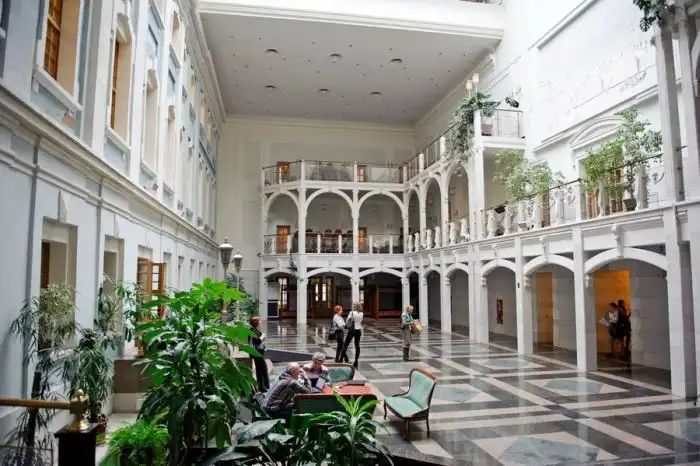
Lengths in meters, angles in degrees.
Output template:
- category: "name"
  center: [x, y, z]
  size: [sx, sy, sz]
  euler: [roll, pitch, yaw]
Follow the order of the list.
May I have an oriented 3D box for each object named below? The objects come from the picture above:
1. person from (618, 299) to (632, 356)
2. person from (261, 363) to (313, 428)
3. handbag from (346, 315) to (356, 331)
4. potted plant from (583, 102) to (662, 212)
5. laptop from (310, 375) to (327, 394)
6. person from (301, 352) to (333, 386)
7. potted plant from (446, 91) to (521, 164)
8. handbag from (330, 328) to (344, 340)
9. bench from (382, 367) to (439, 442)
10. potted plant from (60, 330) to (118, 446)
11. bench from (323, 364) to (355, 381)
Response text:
- category: "person"
  center: [8.954, 3.139, 15.232]
  size: [0.332, 1.872, 1.116]
  euler: [-6, -12, 29]
- category: "person"
  center: [-1.237, 3.221, 8.840]
  size: [0.867, 1.424, 0.809]
  euler: [5, -3, -36]
- category: "handbag"
  center: [0.021, 2.741, 14.337]
  size: [0.253, 0.475, 0.224]
  euler: [0, -10, -1]
- category: "potted plant"
  center: [7.639, -2.113, 13.217]
  size: [2.004, 3.057, 1.397]
  euler: [-7, -13, 34]
- category: "laptop"
  center: [-0.628, 3.076, 9.527]
  size: [0.293, 0.197, 0.323]
  euler: [19, 5, -19]
- category: "person"
  center: [-0.567, 2.833, 9.903]
  size: [0.728, 0.925, 0.637]
  euler: [0, -24, 2]
- category: "potted plant"
  center: [5.061, -4.448, 19.657]
  size: [1.022, 2.246, 2.233]
  euler: [4, -11, -21]
- category: "handbag"
  center: [-0.407, 3.066, 14.338]
  size: [0.399, 0.329, 0.322]
  euler: [0, -10, -2]
- category: "bench"
  center: [1.261, 3.485, 9.687]
  size: [0.846, 1.085, 1.366]
  euler: [2, -5, -13]
- category: "potted plant"
  center: [-4.387, 2.631, 7.865]
  size: [0.745, 2.016, 2.646]
  euler: [5, -11, -26]
- category: "bench"
  center: [-0.204, 3.229, 10.877]
  size: [0.442, 0.532, 0.424]
  euler: [1, -14, -7]
